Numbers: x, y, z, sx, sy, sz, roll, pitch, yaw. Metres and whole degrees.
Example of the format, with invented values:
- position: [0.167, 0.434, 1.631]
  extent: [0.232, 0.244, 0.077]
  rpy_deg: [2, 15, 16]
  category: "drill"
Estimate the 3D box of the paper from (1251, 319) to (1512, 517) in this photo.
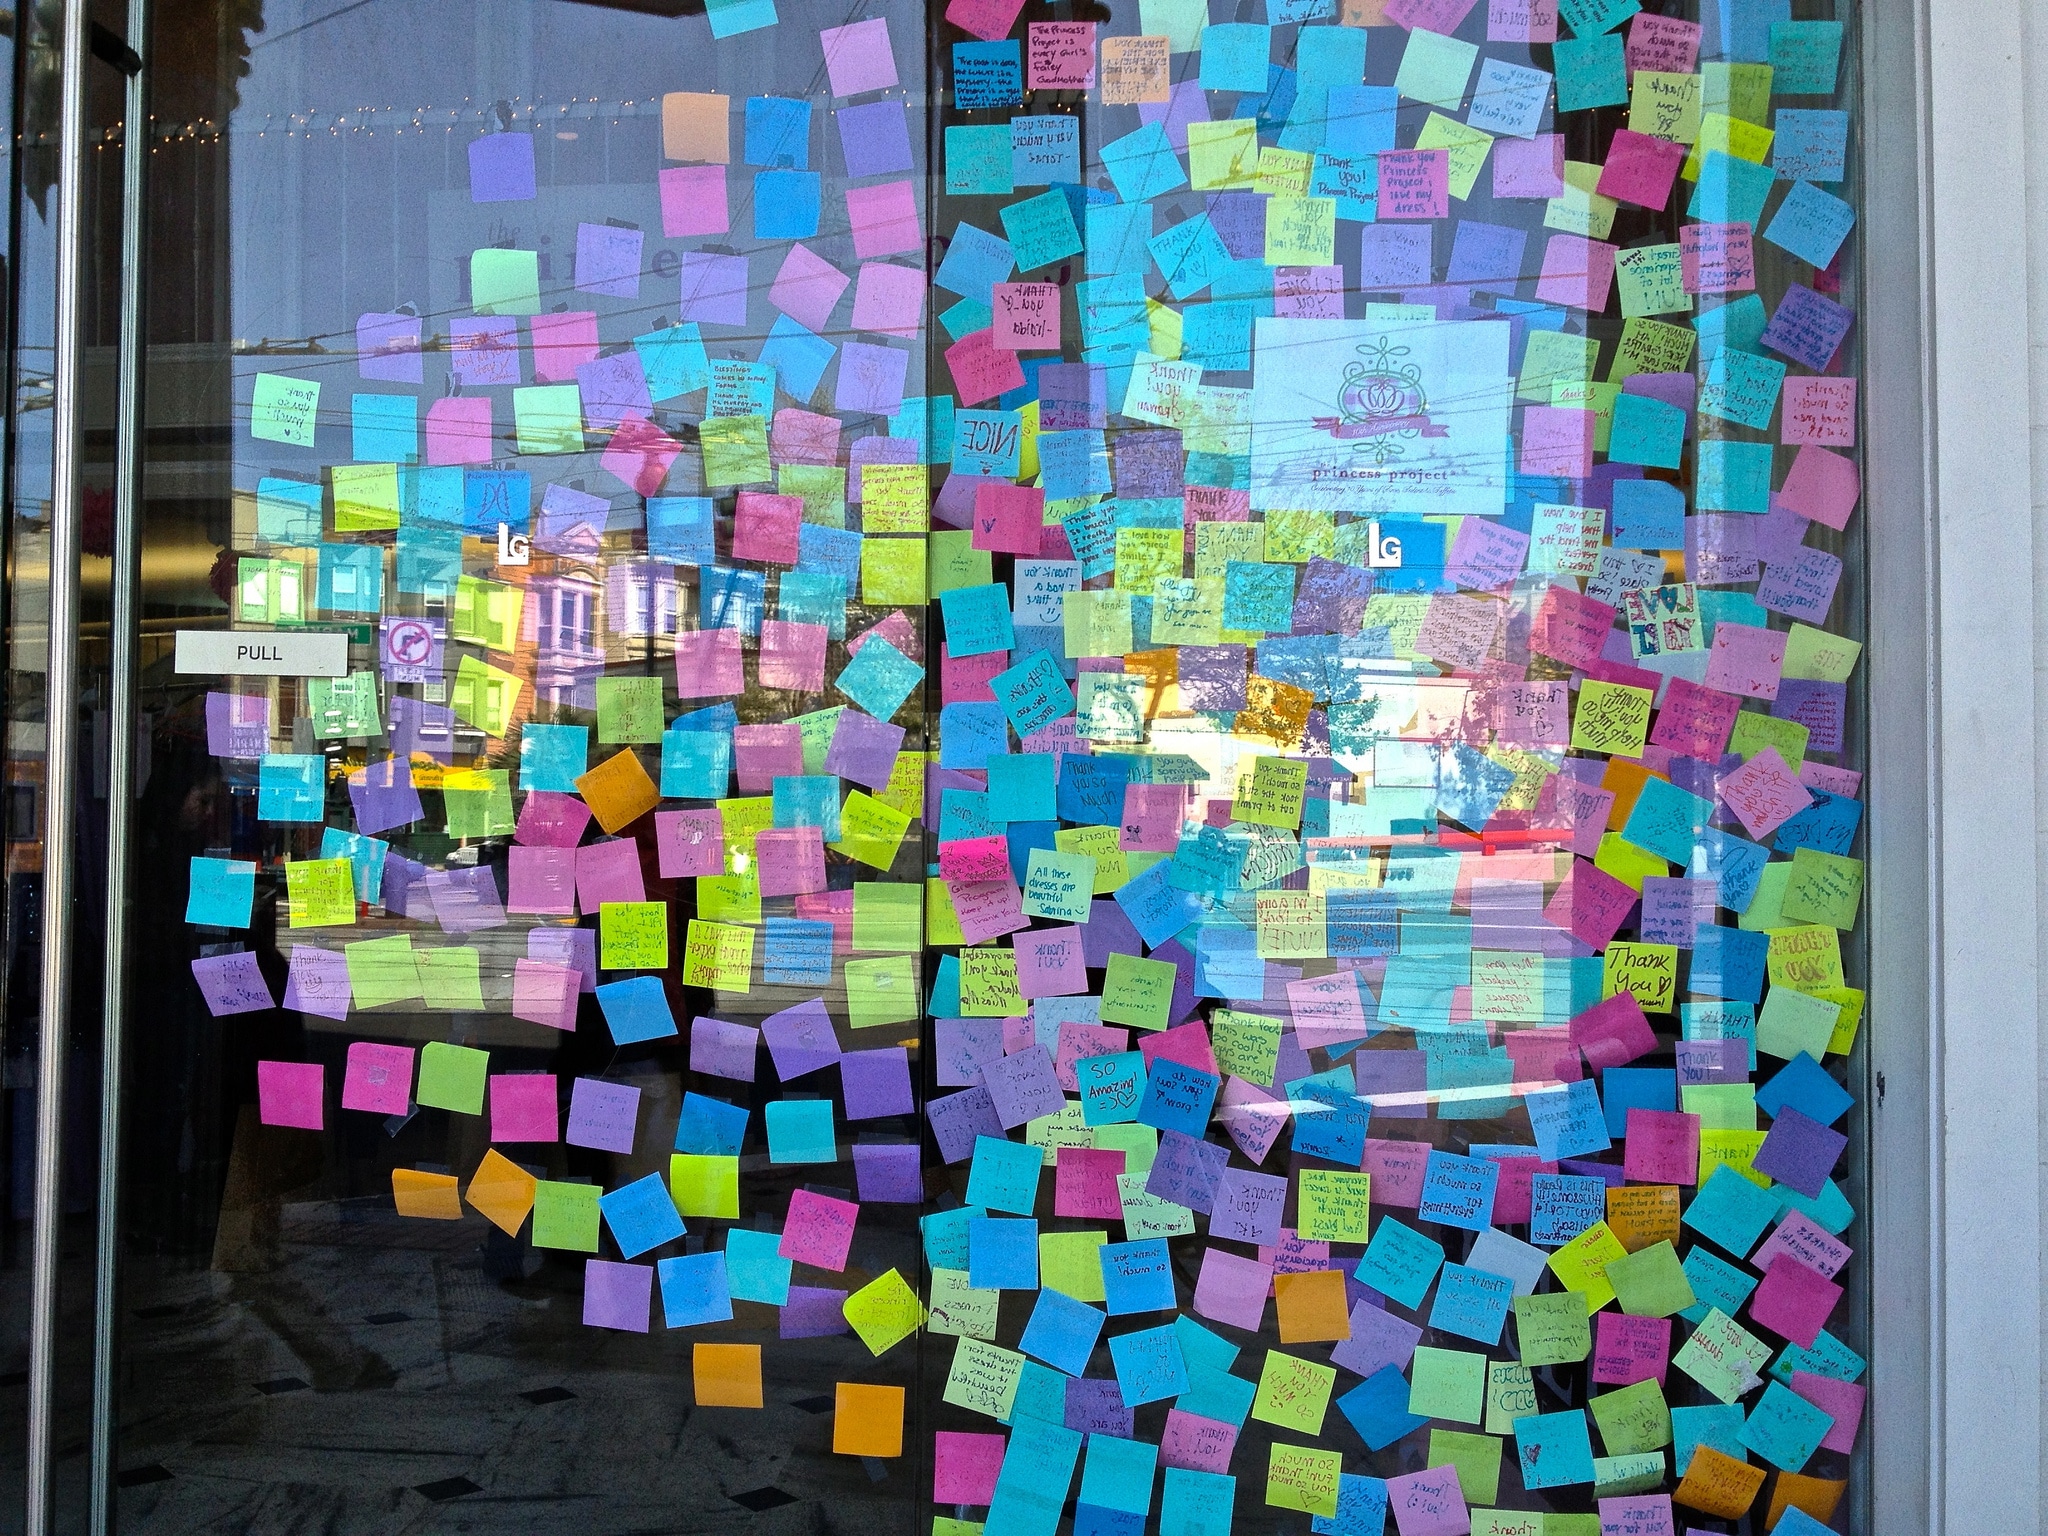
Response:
- position: [0.613, -0.587, 3.887]
  extent: [0.342, 0.006, 0.240]
  rpy_deg: [1, 86, 1]
  category: "paper"
